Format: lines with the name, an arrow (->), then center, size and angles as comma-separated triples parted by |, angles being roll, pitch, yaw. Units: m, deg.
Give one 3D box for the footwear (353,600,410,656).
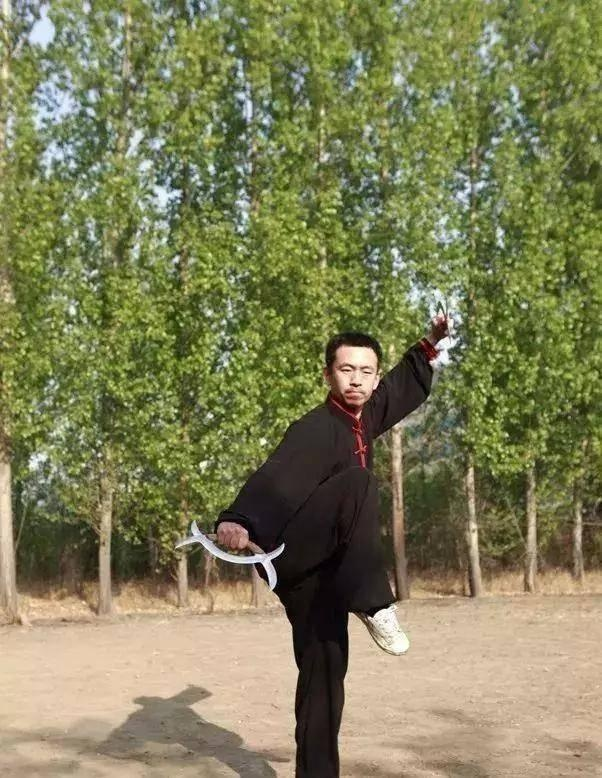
footwear -> 0.794, 2.116, 11.665 | 0.252, 0.296, 0.723 | -26, 38, -14
